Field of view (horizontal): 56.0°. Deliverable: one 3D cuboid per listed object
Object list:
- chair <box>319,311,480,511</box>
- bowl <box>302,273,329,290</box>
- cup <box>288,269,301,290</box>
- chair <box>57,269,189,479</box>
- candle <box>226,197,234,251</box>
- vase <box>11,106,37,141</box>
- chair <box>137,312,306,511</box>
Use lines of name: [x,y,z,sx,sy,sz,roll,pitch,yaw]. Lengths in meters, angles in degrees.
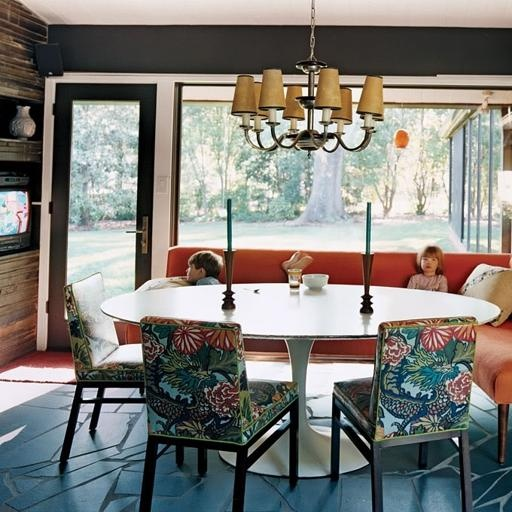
chair: [0.511,0.494,1.652,0.369,0.667,0.459,-2,6,-8]
bowl: [0.294,0.123,2.382,0.090,0.044,0.088,-1,6,0]
cup: [0.170,0.119,2.338,0.083,0.099,0.083,2,-1,0]
chair: [-0.429,0.456,2.331,0.756,1.000,0.724,0,4,2]
candle: [-0.104,-0.119,1.877,0.018,0.199,0.076,-2,6,-9]
vase: [-1.843,-1.047,3.784,0.190,0.244,0.197,19,18,38]
chair: [-0.089,0.472,1.614,0.336,0.633,0.552,2,7,32]
